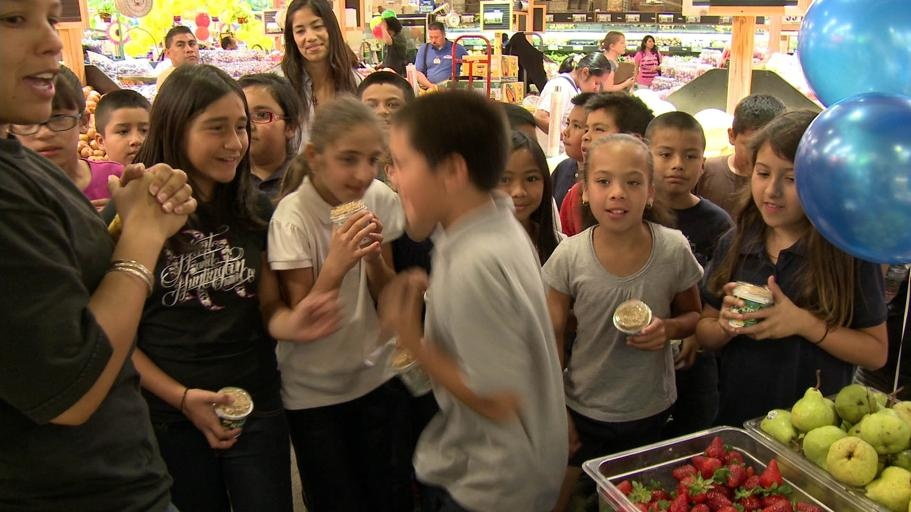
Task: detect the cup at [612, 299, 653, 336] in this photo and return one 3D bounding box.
[{"bbox_3d":[0.853,0.294,2.679,0.175,0.169,0.154,36,6,29],"label":"cup"}]

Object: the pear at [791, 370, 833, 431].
[{"bbox_3d":[1.659,0.681,2.496,0.211,0.239,0.144,-16,24,-36],"label":"pear"}]

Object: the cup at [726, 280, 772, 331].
[{"bbox_3d":[1.405,0.241,2.599,0.175,0.181,0.145,9,22,28],"label":"cup"}]

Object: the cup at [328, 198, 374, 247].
[{"bbox_3d":[-0.457,-0.155,2.635,0.217,0.208,0.214,-40,2,2],"label":"cup"}]

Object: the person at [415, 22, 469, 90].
[{"bbox_3d":[-0.262,-3.577,9.556,0.872,1.142,1.528,-2,19,-3],"label":"person"}]

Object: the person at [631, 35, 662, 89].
[{"bbox_3d":[3.508,-3.587,9.929,0.468,0.918,0.867,4,20,15],"label":"person"}]

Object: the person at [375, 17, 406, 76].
[{"bbox_3d":[-1.077,-3.765,9.668,0.408,0.997,0.820,-4,19,-7],"label":"person"}]

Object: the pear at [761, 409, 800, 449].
[{"bbox_3d":[1.492,0.800,2.509,0.117,0.104,0.149,-18,5,-22],"label":"pear"}]

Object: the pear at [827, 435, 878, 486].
[{"bbox_3d":[1.686,0.879,2.308,0.156,0.154,0.161,-42,4,-2],"label":"pear"}]

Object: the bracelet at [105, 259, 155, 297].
[{"bbox_3d":[-1.119,0.076,1.889,0.130,0.119,0.050,1,63,23],"label":"bracelet"}]
